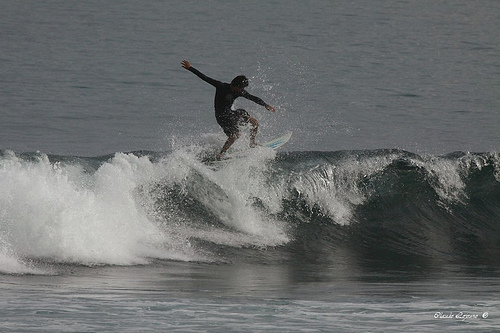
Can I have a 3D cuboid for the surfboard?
[{"bbox_3d":[-0.126,-0.563,30.674,3.117,0.222,0.384,-17,51,-31],"label":"surfboard"}]
